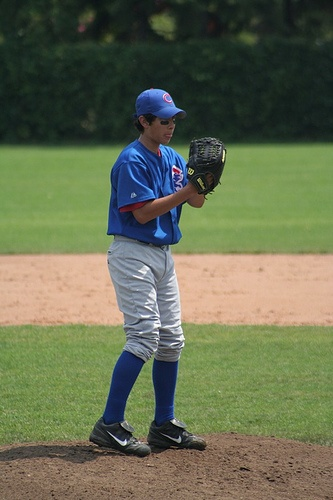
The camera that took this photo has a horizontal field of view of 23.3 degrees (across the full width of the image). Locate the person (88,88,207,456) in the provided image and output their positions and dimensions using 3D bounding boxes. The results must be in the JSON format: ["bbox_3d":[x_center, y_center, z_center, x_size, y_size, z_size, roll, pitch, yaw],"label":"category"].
[{"bbox_3d":[-0.079,0.099,3.843,0.502,1.698,0.647,1,10,2],"label":"person"}]

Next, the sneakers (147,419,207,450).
[{"bbox_3d":[0.033,0.880,3.877,0.311,0.145,0.111,4,-5,7],"label":"sneakers"}]

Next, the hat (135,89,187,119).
[{"bbox_3d":[-0.032,-0.687,3.837,0.213,0.120,0.141,0,11,31],"label":"hat"}]

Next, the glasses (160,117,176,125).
[{"bbox_3d":[0.002,-0.602,3.791,0.065,0.019,0.039,-4,7,45],"label":"glasses"}]
